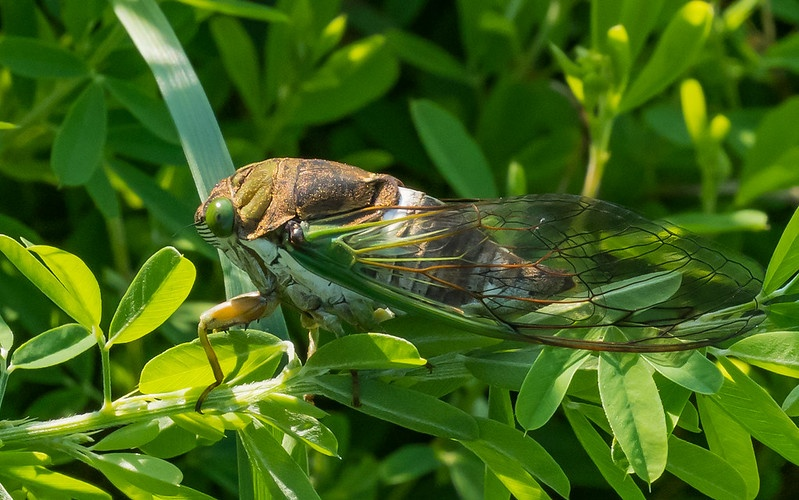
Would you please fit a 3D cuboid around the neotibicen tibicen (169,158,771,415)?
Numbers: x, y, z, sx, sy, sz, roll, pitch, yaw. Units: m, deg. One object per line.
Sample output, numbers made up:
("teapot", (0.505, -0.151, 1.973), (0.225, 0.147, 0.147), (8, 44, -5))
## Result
("neotibicen tibicen", (0.139, 0.008, 1.707), (1.040, 0.177, 0.369), (0, 78, 1))
